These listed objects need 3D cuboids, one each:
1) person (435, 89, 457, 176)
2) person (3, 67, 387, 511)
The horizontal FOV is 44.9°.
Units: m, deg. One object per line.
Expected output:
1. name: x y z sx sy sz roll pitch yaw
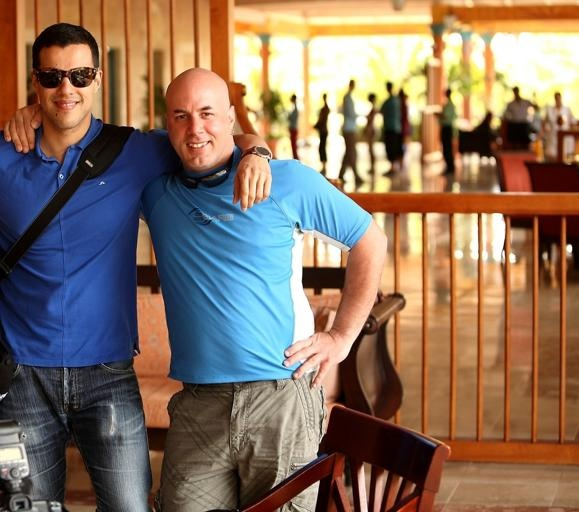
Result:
1. person: 3.693 -2.923 16.449 0.429 2.025 1.240 1 4 13
2. person: -0.075 0.090 1.828 0.621 1.140 0.270 0 4 -8
